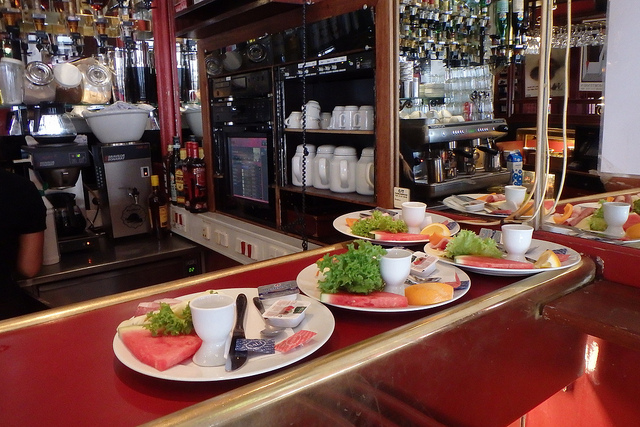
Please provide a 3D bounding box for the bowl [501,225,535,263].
[{"bbox_3d":[0.542,0.081,1.150,0.090,0.095,0.098,-1,10,0],"label":"bowl"}]

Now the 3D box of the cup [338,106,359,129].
[{"bbox_3d":[0.143,-0.492,2.125,0.131,0.121,0.077,2,7,30],"label":"cup"}]

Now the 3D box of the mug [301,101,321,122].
[{"bbox_3d":[-0.043,-0.575,2.288,0.083,0.091,0.107,6,15,11],"label":"mug"}]

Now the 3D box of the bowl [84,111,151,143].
[{"bbox_3d":[-1.357,-0.589,2.800,0.274,0.121,0.278,-1,9,0],"label":"bowl"}]

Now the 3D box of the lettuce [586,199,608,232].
[{"bbox_3d":[0.864,0.014,1.305,0.033,0.071,0.063,9,-11,8],"label":"lettuce"}]

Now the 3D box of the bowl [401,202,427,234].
[{"bbox_3d":[0.312,0.010,1.443,0.095,0.133,0.092,1,10,0],"label":"bowl"}]

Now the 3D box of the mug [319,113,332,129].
[{"bbox_3d":[0.032,-0.521,2.336,0.084,0.079,0.085,12,14,42],"label":"mug"}]

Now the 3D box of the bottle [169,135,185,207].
[{"bbox_3d":[-1.071,-0.303,3.080,0.109,0.516,0.313,-9,18,-23],"label":"bottle"}]

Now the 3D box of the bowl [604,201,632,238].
[{"bbox_3d":[0.904,0.015,1.265,0.068,0.092,0.118,11,21,36],"label":"bowl"}]

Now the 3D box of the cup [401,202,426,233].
[{"bbox_3d":[0.308,0.010,1.425,0.093,0.134,0.089,1,13,0],"label":"cup"}]

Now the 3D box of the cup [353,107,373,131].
[{"bbox_3d":[0.219,-0.469,2.052,0.134,0.129,0.085,-1,10,2],"label":"cup"}]

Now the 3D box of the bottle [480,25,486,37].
[{"bbox_3d":[0.681,-0.758,1.719,0.018,0.044,0.035,-7,18,-18],"label":"bottle"}]

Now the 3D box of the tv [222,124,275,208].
[{"bbox_3d":[-0.440,-0.313,2.609,0.069,0.433,0.502,-8,13,-38],"label":"tv"}]

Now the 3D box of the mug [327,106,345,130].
[{"bbox_3d":[0.084,-0.503,2.183,0.082,0.124,0.132,5,11,15],"label":"mug"}]

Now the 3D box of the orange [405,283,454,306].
[{"bbox_3d":[0.260,0.192,0.963,0.116,0.038,0.063,-1,17,1],"label":"orange"}]

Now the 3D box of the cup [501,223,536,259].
[{"bbox_3d":[0.545,0.074,1.149,0.091,0.100,0.095,0,5,0],"label":"cup"}]

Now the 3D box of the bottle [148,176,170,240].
[{"bbox_3d":[-1.186,-0.056,3.003,0.134,0.488,0.307,-7,18,-16],"label":"bottle"}]

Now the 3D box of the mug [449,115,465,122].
[{"bbox_3d":[0.590,-0.409,1.780,0.061,0.028,0.022,4,18,18],"label":"mug"}]

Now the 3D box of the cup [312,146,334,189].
[{"bbox_3d":[0.017,-0.253,2.303,0.125,0.235,0.081,-2,17,0],"label":"cup"}]

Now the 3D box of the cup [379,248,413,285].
[{"bbox_3d":[0.183,0.135,1.042,0.075,0.078,0.082,1,3,0],"label":"cup"}]

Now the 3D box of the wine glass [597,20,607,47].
[{"bbox_3d":[0.895,-0.574,1.313,0.020,0.081,0.039,0,17,6],"label":"wine glass"}]

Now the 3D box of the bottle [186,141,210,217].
[{"bbox_3d":[-0.872,-0.242,2.935,0.141,0.488,0.125,-12,19,-30],"label":"bottle"}]

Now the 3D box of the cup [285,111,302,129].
[{"bbox_3d":[-0.146,-0.524,2.324,0.097,0.083,0.072,-4,15,-13],"label":"cup"}]

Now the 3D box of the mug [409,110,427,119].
[{"bbox_3d":[0.438,-0.429,1.835,0.052,0.031,0.051,-1,6,-15],"label":"mug"}]

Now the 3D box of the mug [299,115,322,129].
[{"bbox_3d":[-0.041,-0.502,2.297,0.084,0.050,0.086,8,10,34],"label":"mug"}]

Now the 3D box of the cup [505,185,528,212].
[{"bbox_3d":[0.674,-0.051,1.430,0.085,0.095,0.084,-1,7,0],"label":"cup"}]

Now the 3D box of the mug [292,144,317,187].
[{"bbox_3d":[-0.098,-0.271,2.352,0.167,0.242,0.226,5,12,18],"label":"mug"}]
